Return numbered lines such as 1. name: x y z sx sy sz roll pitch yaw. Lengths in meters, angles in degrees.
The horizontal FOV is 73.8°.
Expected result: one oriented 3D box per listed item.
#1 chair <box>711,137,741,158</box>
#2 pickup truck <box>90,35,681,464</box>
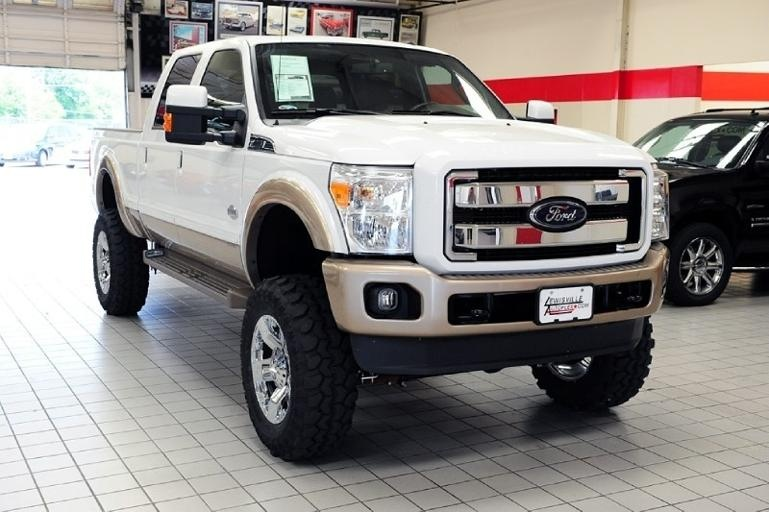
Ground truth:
1. chair: 4.532 -1.434 6.776 0.292 0.338 0.322 7 2 41
2. pickup truck: -0.743 -0.441 4.881 2.922 2.122 5.501 -7 13 -35
